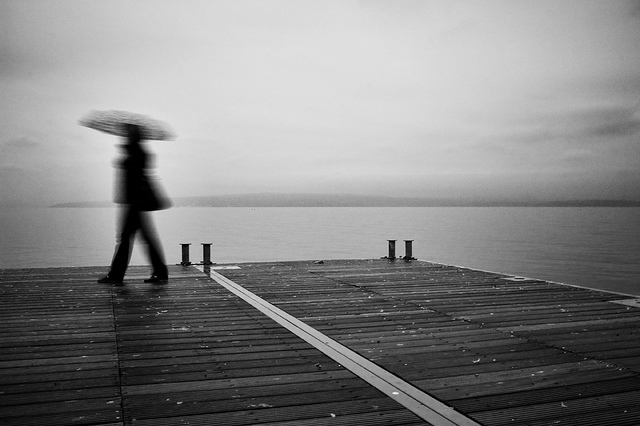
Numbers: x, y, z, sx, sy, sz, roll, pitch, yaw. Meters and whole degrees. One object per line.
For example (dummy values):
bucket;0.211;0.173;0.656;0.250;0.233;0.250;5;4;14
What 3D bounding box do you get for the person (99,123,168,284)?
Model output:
person;-2.932;-0.138;9.361;0.950;2.534;0.314;-2;12;-12
